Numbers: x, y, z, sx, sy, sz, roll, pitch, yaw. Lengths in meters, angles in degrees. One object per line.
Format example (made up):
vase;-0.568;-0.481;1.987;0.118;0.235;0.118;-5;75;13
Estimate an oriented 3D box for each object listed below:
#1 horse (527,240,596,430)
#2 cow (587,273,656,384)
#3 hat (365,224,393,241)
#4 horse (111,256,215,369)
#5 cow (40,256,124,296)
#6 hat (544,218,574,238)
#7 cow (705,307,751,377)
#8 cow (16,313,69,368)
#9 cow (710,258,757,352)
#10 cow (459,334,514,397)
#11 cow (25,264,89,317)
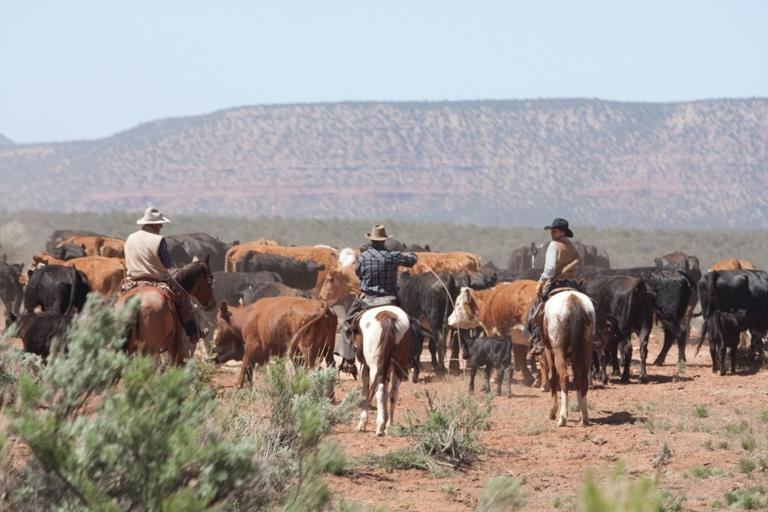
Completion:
horse;4.454;2.390;28.318;1.093;3.581;1.635;2;-5;-17
cow;6.826;2.074;32.663;1.664;3.064;1.143;-1;-5;23
hat;-0.104;-0.533;28.358;0.602;0.344;0.836;4;-3;3
horse;-5.195;1.296;27.206;1.570;2.502;2.465;-1;-5;16
cow;-8.405;0.610;32.158;2.483;1.474;0.860;5;2;20
hat;4.478;-0.732;28.701;0.712;0.341;0.621;15;-4;-4
cow;9.817;2.471;32.669;1.007;1.870;1.409;-1;-5;22
cow;-8.113;1.942;27.263;1.136;1.193;1.037;3;-5;-20
cow;10.151;1.531;33.126;1.058;2.202;4.090;1;24;23
cow;2.988;3.054;31.993;1.266;1.628;2.049;0;-5;6
cow;-8.638;0.865;30.417;1.422;1.347;2.799;3;-5;-24
